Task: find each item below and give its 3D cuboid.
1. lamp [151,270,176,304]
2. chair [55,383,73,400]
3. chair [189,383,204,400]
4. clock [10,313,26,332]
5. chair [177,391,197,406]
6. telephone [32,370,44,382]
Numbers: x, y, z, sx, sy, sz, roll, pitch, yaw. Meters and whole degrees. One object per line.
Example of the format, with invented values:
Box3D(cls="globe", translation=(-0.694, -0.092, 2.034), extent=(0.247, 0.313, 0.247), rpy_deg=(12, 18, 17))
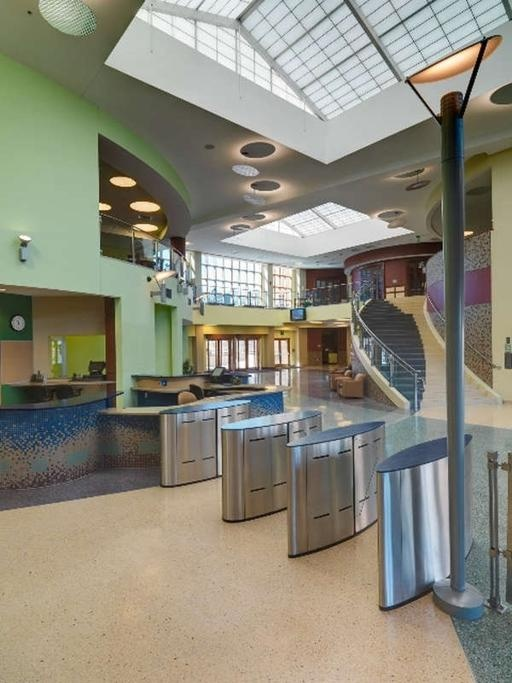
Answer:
Box3D(cls="lamp", translation=(-2.140, -1.233, 11.660), extent=(0.631, 0.755, 0.713), rpy_deg=(-2, 3, -2))
Box3D(cls="chair", translation=(-3.646, 0.939, 9.831), extent=(0.239, 0.334, 0.274), rpy_deg=(2, 9, 0))
Box3D(cls="chair", translation=(-1.144, 0.966, 10.194), extent=(0.249, 0.352, 0.302), rpy_deg=(4, 2, 37))
Box3D(cls="clock", translation=(-4.846, -0.387, 10.493), extent=(0.060, 0.364, 0.370), rpy_deg=(-5, 0, 16))
Box3D(cls="chair", translation=(-1.067, 0.879, 8.200), extent=(0.249, 0.332, 0.268), rpy_deg=(0, -2, -30))
Box3D(cls="telephone", translation=(-4.654, 0.720, 11.019), extent=(0.224, 0.228, 0.222), rpy_deg=(-1, 8, -14))
